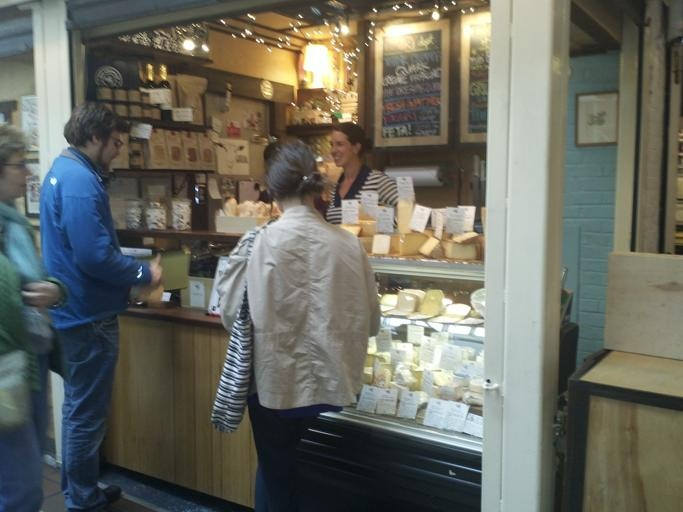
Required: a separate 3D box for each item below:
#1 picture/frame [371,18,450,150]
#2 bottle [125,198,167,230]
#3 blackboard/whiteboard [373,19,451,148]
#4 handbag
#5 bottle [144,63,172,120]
[{"bbox_3d":[0.480,-1.174,4.083,0.052,1.197,0.865,-4,6,-42],"label":"picture/frame"},{"bbox_3d":[-1.320,-0.269,4.082,0.236,0.175,0.219,1,2,0],"label":"bottle"},{"bbox_3d":[0.481,-1.153,4.144,0.573,0.786,0.047,4,8,34],"label":"blackboard/whiteboard"},{"bbox_3d":[-0.456,0.429,2.589,0.174,0.638,0.164,0,3,-19],"label":"handbag"},{"bbox_3d":[-1.280,-1.146,4.241,0.104,0.350,0.256,2,5,-4],"label":"bottle"}]
